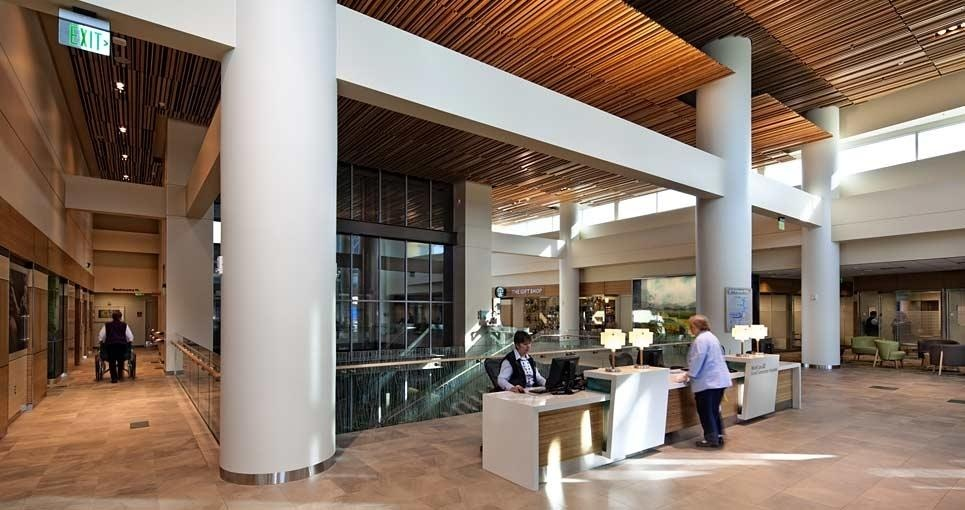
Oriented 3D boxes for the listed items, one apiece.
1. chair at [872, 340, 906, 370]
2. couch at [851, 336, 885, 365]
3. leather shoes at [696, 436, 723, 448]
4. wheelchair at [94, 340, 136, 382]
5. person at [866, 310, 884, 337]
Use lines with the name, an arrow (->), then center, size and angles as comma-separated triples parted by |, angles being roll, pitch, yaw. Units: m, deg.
chair -> 15.529, 3.784, 20.538 | 1.336, 1.145, 1.298 | 6, -13, -38
couch -> 15.367, 3.769, 21.740 | 1.557, 1.332, 1.463 | -7, -14, 36
leather shoes -> 4.923, 4.140, 11.964 | 0.670, 0.211, 0.224 | 1, -11, 16
wheelchair -> -12.005, 3.332, 17.741 | 1.198, 1.409, 1.873 | 5, 1, -26
person -> 16.801, 2.930, 23.438 | 0.480, 1.049, 0.513 | 2, 10, 8
